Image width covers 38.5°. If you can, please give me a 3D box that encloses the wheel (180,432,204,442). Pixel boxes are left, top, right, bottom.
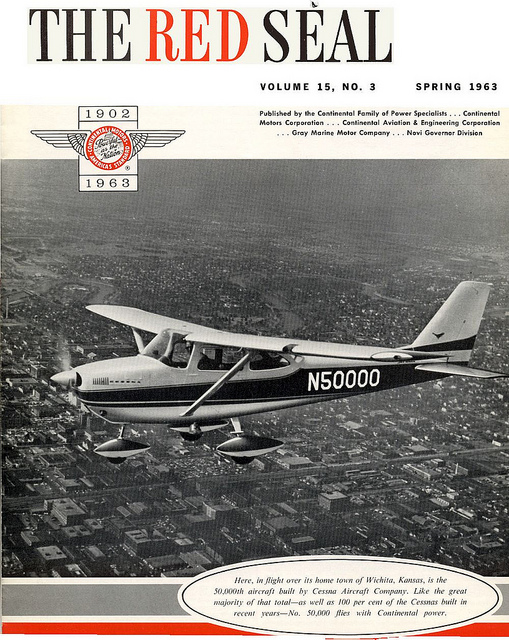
[{"bbox_3d":[-0.413,0.745,4.648,0.101,0.030,0.085,8,3,-32],"label":"wheel"}]

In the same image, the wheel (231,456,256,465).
[{"bbox_3d":[-0.065,0.907,4.754,0.093,0.045,0.078,3,-2,-11],"label":"wheel"}]
